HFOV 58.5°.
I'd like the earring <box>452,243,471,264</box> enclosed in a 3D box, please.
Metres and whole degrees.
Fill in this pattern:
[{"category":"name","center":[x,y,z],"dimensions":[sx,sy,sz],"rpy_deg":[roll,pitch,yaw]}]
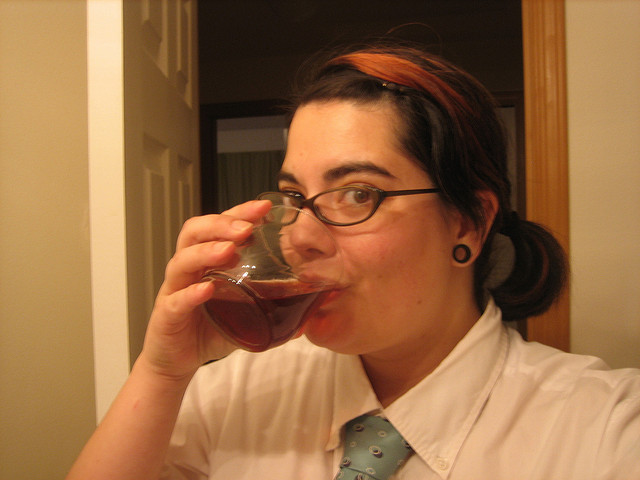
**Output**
[{"category":"earring","center":[0.394,0.036,1.592],"dimensions":[0.056,0.047,0.012],"rpy_deg":[1,4,-2]}]

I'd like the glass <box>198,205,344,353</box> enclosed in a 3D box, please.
[{"category":"glass","center":[-0.116,0.066,1.492],"dimensions":[0.300,0.340,0.361],"rpy_deg":[-1,10,-28]}]

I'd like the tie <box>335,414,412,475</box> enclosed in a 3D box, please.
[{"category":"tie","center":[0.139,0.620,1.635],"dimensions":[0.155,0.178,0.152],"rpy_deg":[23,58,34]}]
